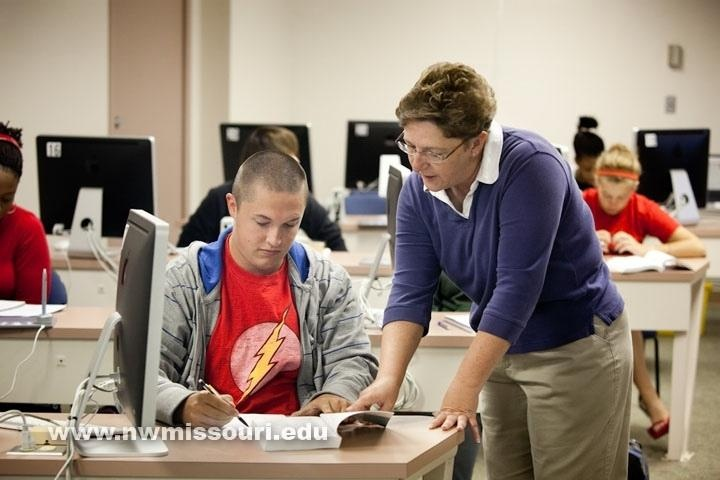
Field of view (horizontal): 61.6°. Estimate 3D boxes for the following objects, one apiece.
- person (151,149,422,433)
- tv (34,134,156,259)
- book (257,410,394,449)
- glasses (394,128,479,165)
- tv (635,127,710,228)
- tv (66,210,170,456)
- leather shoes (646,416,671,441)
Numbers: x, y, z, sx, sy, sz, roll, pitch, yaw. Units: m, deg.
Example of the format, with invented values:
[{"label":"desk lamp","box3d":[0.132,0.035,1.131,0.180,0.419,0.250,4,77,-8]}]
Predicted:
[{"label":"person","box3d":[-0.314,0.234,2.101,0.912,1.020,0.912,4,8,7]},{"label":"tv","box3d":[-1.417,-0.258,3.223,0.615,0.569,0.201,3,19,3]},{"label":"book","box3d":[-0.119,0.555,1.796,0.416,0.110,0.110,1,1,-4]},{"label":"glasses","box3d":[0.246,-0.285,1.927,0.145,0.050,0.153,21,36,40]},{"label":"tv","box3d":[2.057,-0.424,4.005,0.628,0.691,0.227,-4,18,-9]},{"label":"tv","box3d":[-0.693,0.263,1.798,0.299,0.708,0.281,1,2,-4]},{"label":"leather shoes","box3d":[1.657,1.060,3.368,0.122,0.064,0.125,-33,-9,33]}]
